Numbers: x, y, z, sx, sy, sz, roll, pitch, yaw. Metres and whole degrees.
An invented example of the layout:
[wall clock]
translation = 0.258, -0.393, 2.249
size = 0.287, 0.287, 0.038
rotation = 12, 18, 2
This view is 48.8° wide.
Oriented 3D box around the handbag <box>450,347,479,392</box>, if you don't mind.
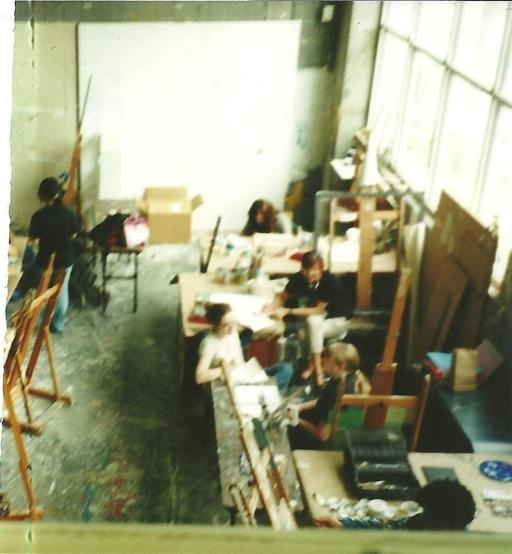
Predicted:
[handbag]
translation = 0.736, 0.311, 1.979
size = 0.083, 0.159, 0.088
rotation = 6, 25, 29
